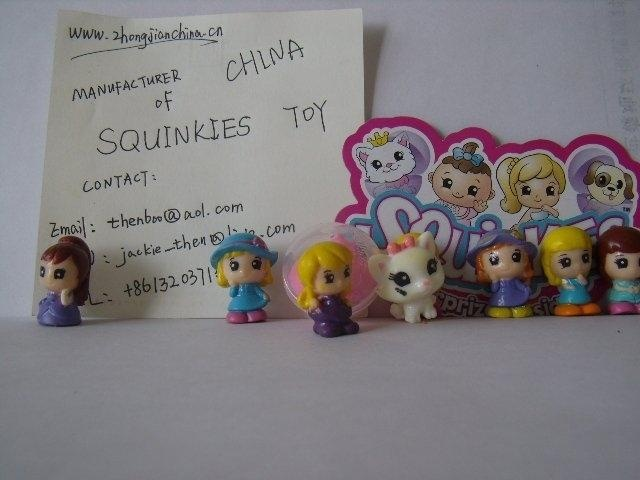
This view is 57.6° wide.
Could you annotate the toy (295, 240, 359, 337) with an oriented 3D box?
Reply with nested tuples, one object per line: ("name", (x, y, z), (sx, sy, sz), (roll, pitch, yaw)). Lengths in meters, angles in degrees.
("toy", (0.016, 0.092, 1.120), (0.120, 0.175, 0.104), (-4, 5, -35))

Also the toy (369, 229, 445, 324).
("toy", (0.183, 0.075, 1.209), (0.144, 0.185, 0.152), (0, 6, 12))

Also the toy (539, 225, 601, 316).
("toy", (0.529, 0.066, 1.230), (0.117, 0.185, 0.057), (2, 6, 28))

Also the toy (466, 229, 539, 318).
("toy", (0.393, 0.071, 1.241), (0.126, 0.189, 0.110), (-4, -1, 17))

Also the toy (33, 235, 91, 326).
("toy", (-0.522, 0.091, 1.184), (0.102, 0.163, 0.061), (-4, 6, -25))

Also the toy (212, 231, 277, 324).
("toy", (-0.161, 0.081, 1.230), (0.136, 0.190, 0.130), (-7, -8, 16))
